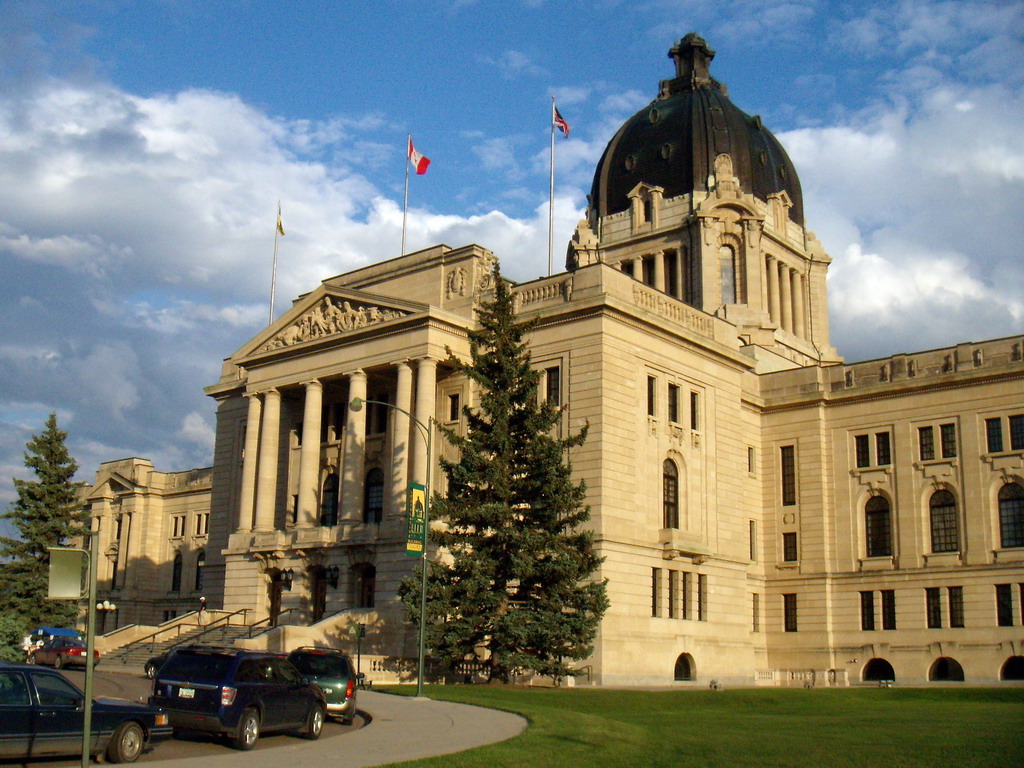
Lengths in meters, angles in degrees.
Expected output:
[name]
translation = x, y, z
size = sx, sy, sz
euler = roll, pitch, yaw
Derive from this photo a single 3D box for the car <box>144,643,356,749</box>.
[car]
translation = -7.726, 8.905, 34.166
size = 4.327, 2.765, 1.770
euler = 15, -22, -41
